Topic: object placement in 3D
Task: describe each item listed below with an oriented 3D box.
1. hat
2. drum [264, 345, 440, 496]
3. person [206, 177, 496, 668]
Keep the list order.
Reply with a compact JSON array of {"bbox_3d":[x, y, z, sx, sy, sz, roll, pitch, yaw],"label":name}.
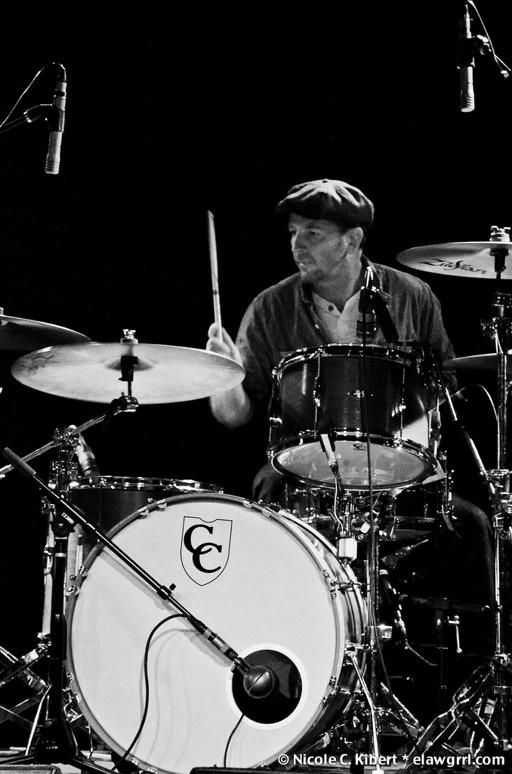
[{"bbox_3d":[0.275,-0.749,5.094,0.385,0.176,0.442,8,19,6],"label":"hat"},{"bbox_3d":[0.303,0.112,3.871,0.470,0.300,0.473,2,-23,1],"label":"drum"},{"bbox_3d":[0.269,0.014,4.943,1.198,1.575,0.837,-7,12,-25],"label":"person"}]
